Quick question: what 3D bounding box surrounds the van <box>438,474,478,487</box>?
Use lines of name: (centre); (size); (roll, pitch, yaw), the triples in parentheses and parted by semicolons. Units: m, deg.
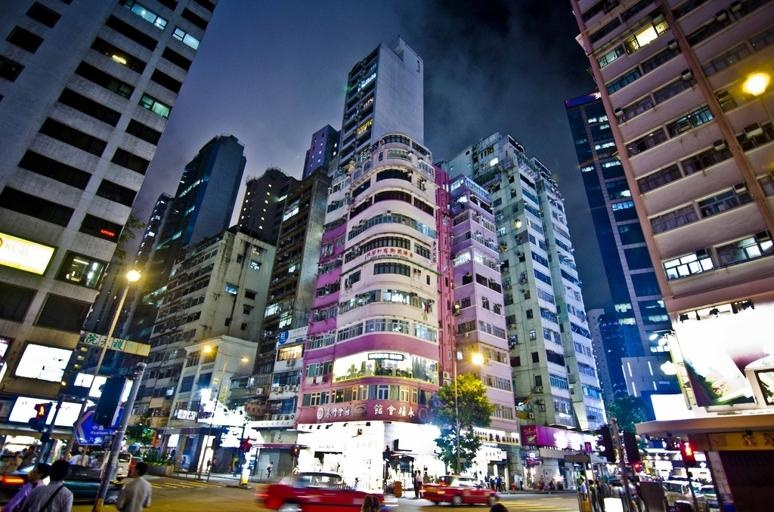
van: (5.909, 18.923, 37.139); (2.381, 1.104, 1.312); (2, -22, -6)

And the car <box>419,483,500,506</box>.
car: (5.932, 19.838, 36.815); (4.636, 1.399, 2.518); (7, -21, -18)

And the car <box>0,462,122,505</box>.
car: (-18.956, 13.366, 25.788); (7.073, 2.356, 3.080); (25, -36, -34)
